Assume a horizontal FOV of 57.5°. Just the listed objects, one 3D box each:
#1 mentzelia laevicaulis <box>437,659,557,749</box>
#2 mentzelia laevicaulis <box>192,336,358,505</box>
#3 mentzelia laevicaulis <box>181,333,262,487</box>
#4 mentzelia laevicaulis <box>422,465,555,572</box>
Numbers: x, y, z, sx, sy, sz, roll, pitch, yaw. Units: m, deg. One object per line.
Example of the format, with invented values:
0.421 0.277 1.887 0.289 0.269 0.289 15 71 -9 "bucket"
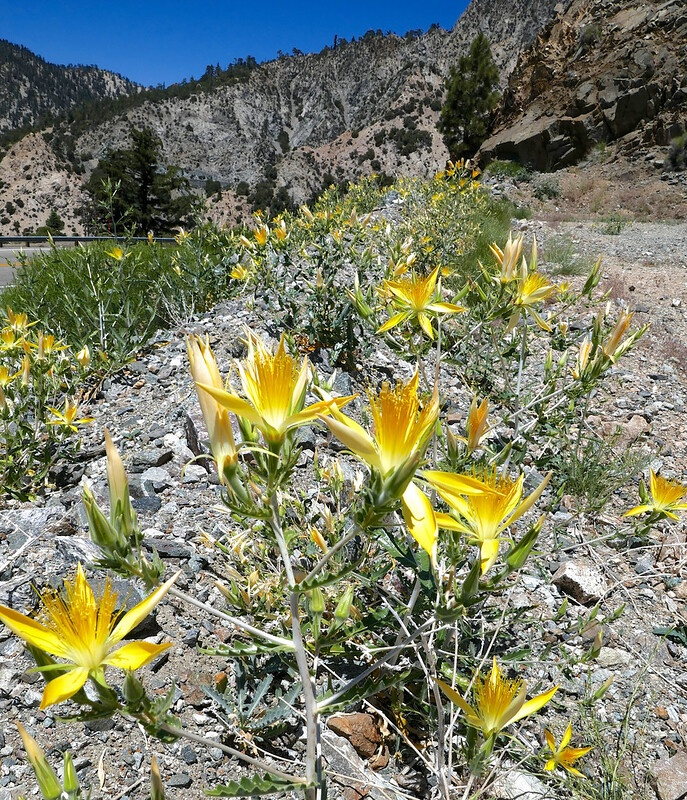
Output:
0.357 0.720 1.448 0.212 0.222 0.149 8 65 1 "mentzelia laevicaulis"
-0.183 0.046 1.373 0.341 0.305 0.385 -1 7 -13 "mentzelia laevicaulis"
-0.279 0.034 1.363 0.082 0.465 0.076 -19 -8 31 "mentzelia laevicaulis"
0.318 0.236 1.472 0.261 0.185 0.290 -17 28 -26 "mentzelia laevicaulis"
